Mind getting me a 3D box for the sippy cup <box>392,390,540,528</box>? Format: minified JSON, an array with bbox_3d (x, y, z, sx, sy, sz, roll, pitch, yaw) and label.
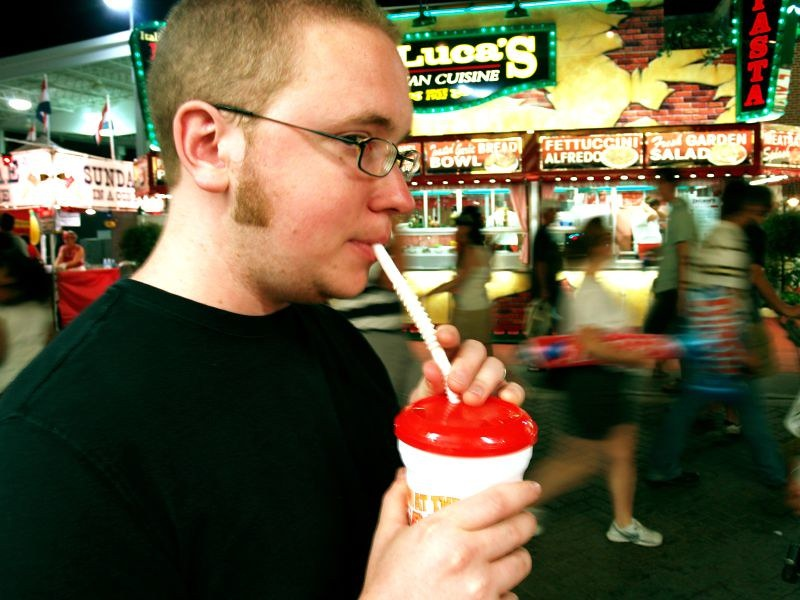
[{"bbox_3d":[0.150,0.412,1.832,0.368,0.280,0.330,1,11,3],"label":"sippy cup"}]
